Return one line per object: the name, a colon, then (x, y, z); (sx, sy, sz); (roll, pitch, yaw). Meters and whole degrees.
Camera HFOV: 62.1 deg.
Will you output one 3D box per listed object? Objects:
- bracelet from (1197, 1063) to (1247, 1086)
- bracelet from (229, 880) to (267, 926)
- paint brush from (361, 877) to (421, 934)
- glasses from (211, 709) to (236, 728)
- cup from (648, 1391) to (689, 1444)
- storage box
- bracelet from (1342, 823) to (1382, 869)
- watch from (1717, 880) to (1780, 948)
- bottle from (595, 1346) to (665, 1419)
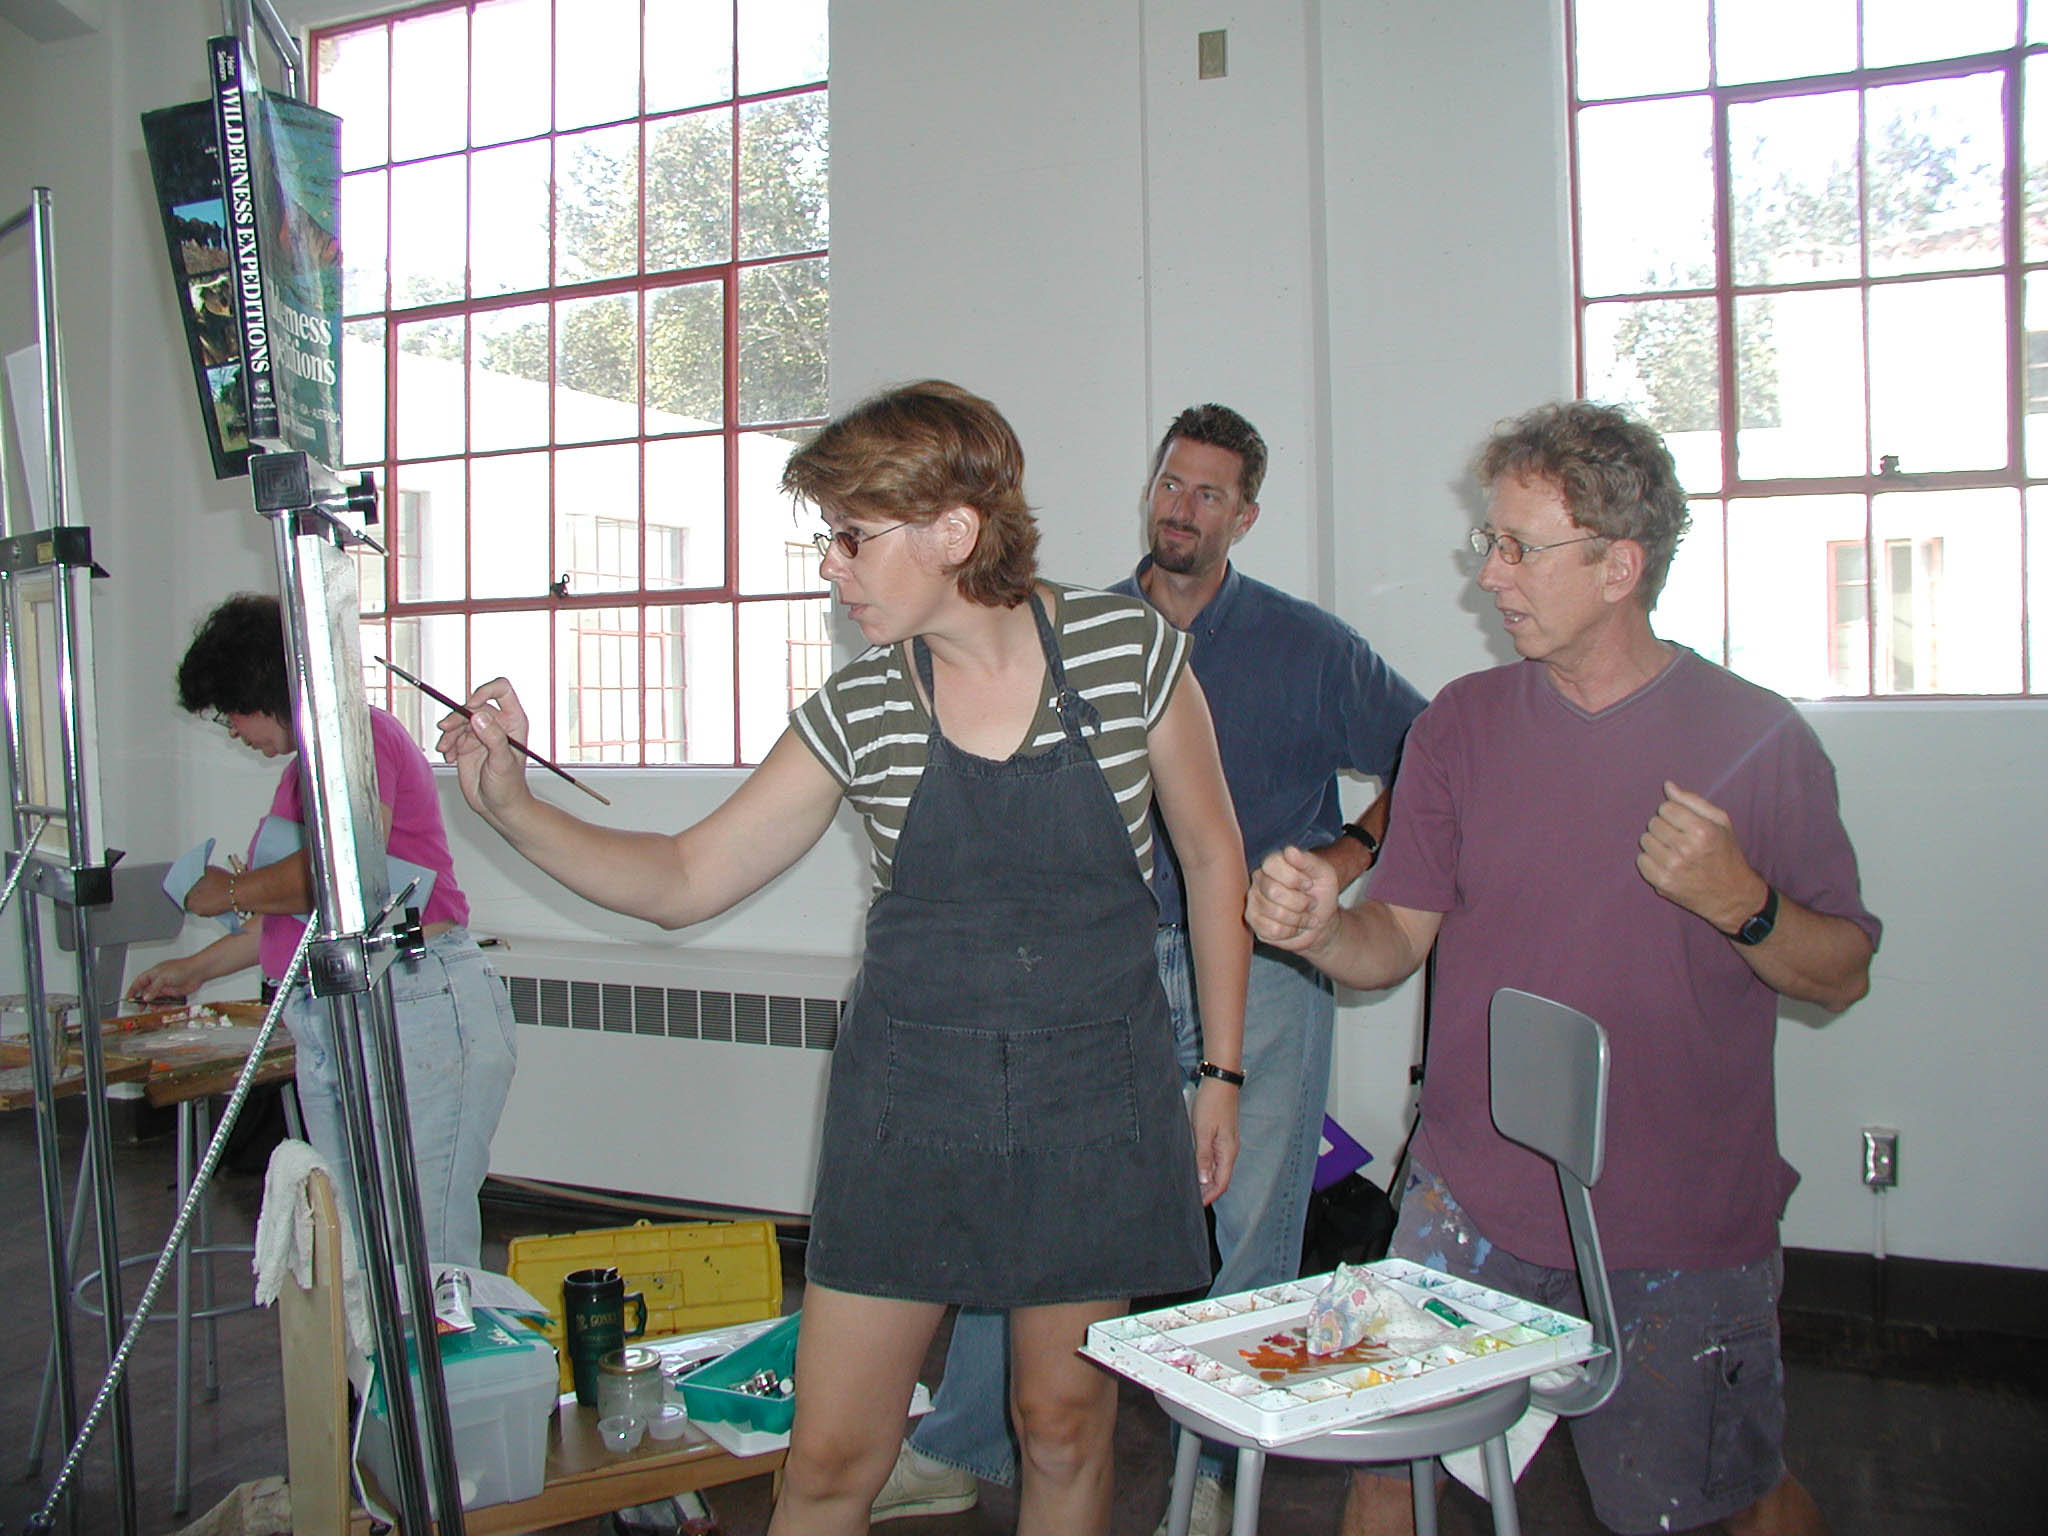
bracelet: (0.344, 0.530, 2.929); (0.061, 0.040, 0.059); (5, -11, 46)
bracelet: (-1.871, 0.321, 4.095); (0.108, 0.054, 0.148); (-4, -23, -29)
paint brush: (-0.996, 0.224, 2.667); (0.059, 0.098, 0.037); (29, -14, -37)
glasses: (-2.097, -0.132, 4.440); (0.044, 0.065, 0.016); (-29, -3, 33)
cup: (-0.667, 1.237, 3.211); (0.053, 0.053, 0.073); (1, -6, -6)
storage box: (-1.029, 1.184, 3.172); (0.290, 0.378, 0.398); (-17, -18, 39)
bracelet: (0.719, 0.164, 3.625); (0.062, 0.089, 0.037); (6, -29, -33)
watch: (1.196, 0.244, 2.819); (0.077, 0.089, 0.086); (14, -6, -11)
bottle: (-0.747, 1.176, 3.209); (0.117, 0.115, 0.120); (-1, -2, 36)
